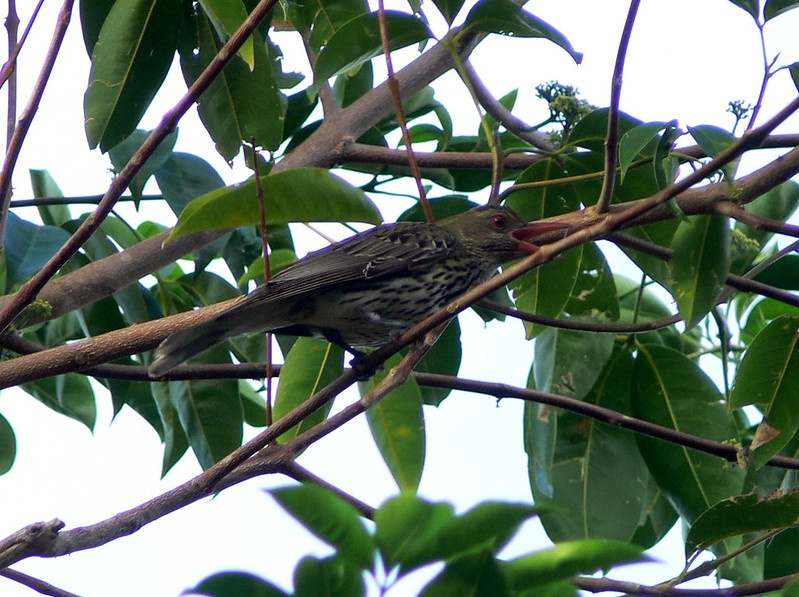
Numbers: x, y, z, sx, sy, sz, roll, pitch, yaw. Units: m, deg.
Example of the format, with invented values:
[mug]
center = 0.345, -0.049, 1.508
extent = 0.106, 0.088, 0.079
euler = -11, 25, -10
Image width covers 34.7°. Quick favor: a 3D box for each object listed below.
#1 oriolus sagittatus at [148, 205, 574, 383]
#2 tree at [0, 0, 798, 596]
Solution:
[oriolus sagittatus]
center = -0.202, -0.090, 6.017
extent = 1.900, 0.658, 0.503
euler = -2, -19, -2
[tree]
center = 0.029, -0.046, 5.812
extent = 2.861, 2.776, 0.655
euler = -16, -90, 38
